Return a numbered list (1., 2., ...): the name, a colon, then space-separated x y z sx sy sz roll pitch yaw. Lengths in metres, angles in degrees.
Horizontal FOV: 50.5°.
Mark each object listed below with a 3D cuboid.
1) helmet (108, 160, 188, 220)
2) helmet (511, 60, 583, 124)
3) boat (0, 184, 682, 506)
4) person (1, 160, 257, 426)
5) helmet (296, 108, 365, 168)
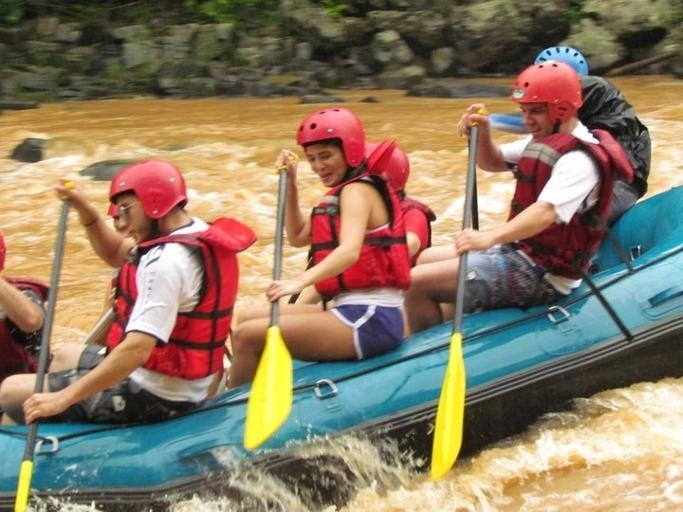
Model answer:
1. helmet: -0.977 -0.313 3.709 0.385 0.279 0.267 -21 -2 -10
2. helmet: 1.202 -0.944 4.190 0.402 0.277 0.310 7 1 -17
3. boat: 0.259 0.692 4.033 3.536 0.659 1.400 -17 -7 -11
4. person: -0.994 0.214 3.633 0.579 1.290 1.075 18 27 35
5. helmet: -0.017 -0.649 3.942 0.352 0.257 0.303 -26 16 -10
